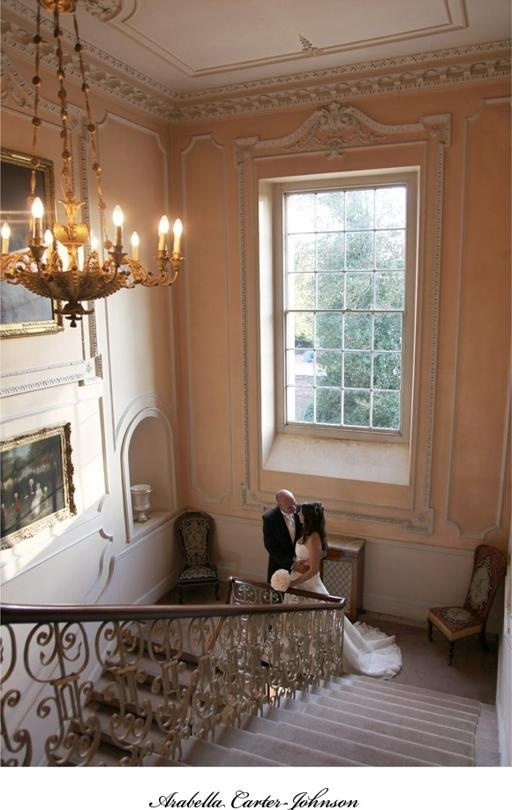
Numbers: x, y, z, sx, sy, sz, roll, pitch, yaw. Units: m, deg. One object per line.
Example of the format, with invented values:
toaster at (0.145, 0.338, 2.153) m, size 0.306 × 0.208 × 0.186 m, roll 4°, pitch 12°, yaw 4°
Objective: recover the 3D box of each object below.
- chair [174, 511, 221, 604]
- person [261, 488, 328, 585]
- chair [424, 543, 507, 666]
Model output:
chair at (-0.653, 1.700, 6.515) m, size 0.498 × 0.842 × 0.712 m, roll -1°, pitch 11°, yaw -8°
person at (0.296, 1.278, 4.851) m, size 0.421 × 1.293 × 0.398 m, roll -3°, pitch 32°, yaw 3°
chair at (1.921, 1.770, 5.252) m, size 0.646 × 1.034 × 0.530 m, roll -2°, pitch 11°, yaw -11°
